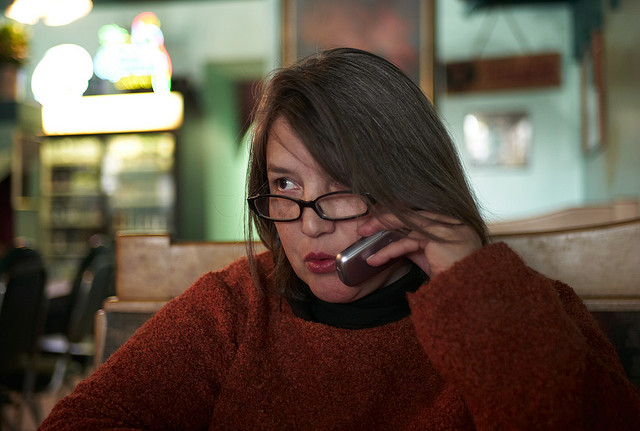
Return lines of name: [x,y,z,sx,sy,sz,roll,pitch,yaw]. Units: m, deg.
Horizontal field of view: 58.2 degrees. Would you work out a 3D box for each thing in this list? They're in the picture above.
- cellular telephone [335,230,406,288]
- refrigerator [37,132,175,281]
cellular telephone: [0.147,0.115,1.679,0.222,0.089,0.109,-30,72,-2]
refrigerator: [-1.678,-0.157,4.586,1.212,0.419,1.309,-2,86,14]
